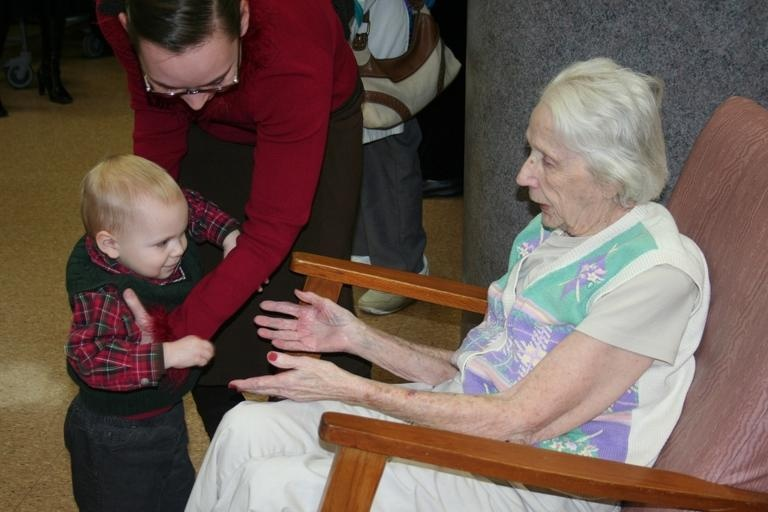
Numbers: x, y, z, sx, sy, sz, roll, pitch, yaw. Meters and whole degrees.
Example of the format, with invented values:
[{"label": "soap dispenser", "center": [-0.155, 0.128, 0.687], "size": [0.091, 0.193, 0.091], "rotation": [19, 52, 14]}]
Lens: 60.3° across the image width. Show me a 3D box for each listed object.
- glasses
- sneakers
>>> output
[{"label": "glasses", "center": [-0.487, -0.462, 1.693], "size": [0.156, 0.073, 0.197], "rotation": [-3, 59, -5]}, {"label": "sneakers", "center": [-0.006, 0.168, 3.397], "size": [0.467, 0.197, 0.162], "rotation": [-18, 60, -4]}]
